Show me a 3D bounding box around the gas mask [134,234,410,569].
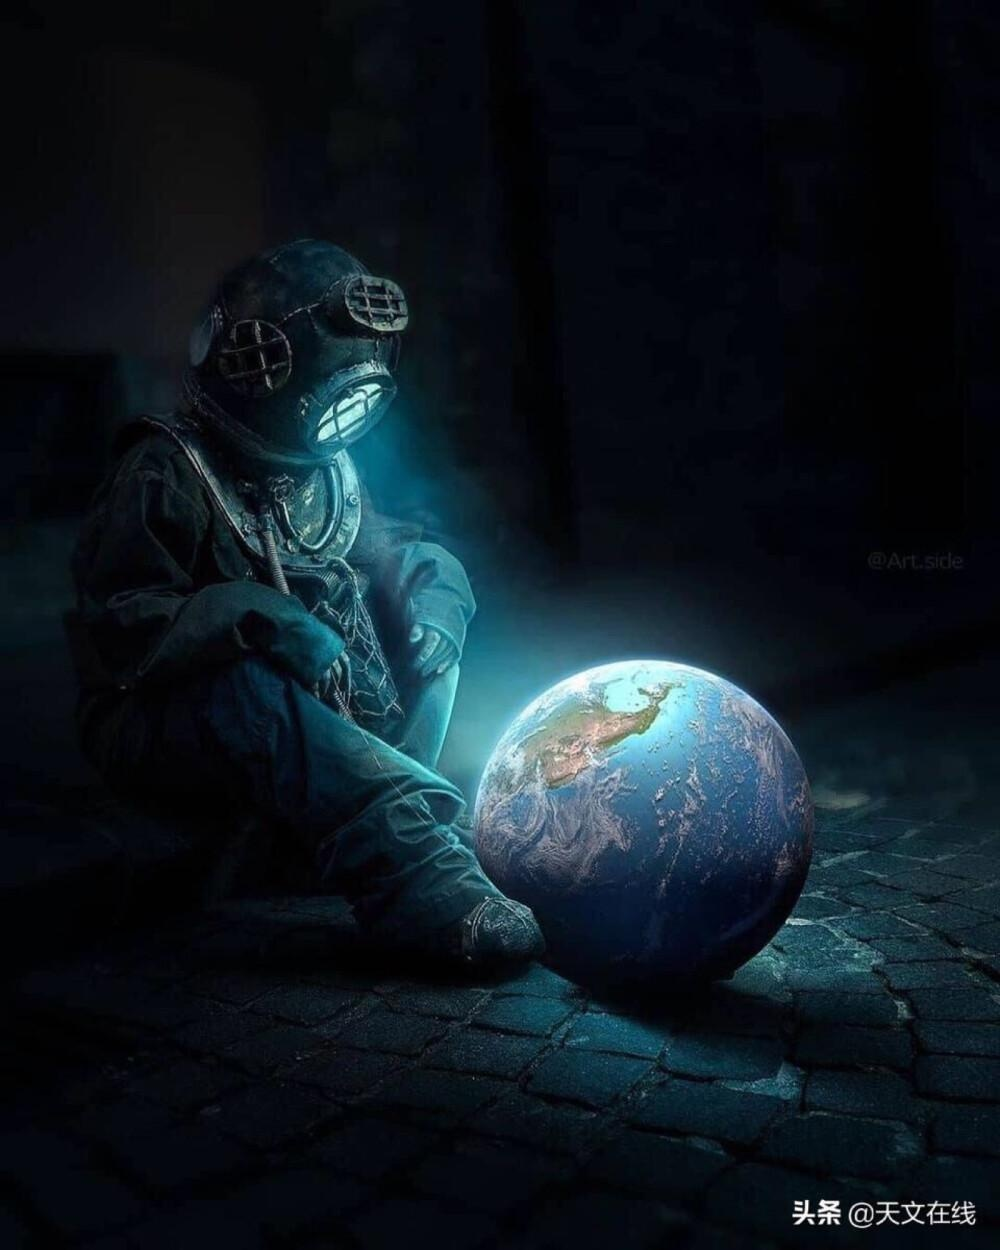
[{"bbox_3d":[-0.702,-0.677,3.836,0.707,0.985,0.712,19,16,27],"label":"gas mask"}]

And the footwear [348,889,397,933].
[{"bbox_3d":[-0.346,0.792,3.331,0.109,0.111,0.134,-9,-8,-46],"label":"footwear"}]

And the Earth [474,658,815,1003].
[{"bbox_3d":[0.367,0.559,3.308,0.963,0.883,0.925,1,-4,-6],"label":"Earth"}]

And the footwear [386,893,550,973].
[{"bbox_3d":[-0.062,0.817,3.272,0.347,0.158,0.210,-6,-17,34],"label":"footwear"}]

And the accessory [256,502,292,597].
[{"bbox_3d":[-0.675,-0.198,3.674,0.030,0.176,0.039,-13,2,34],"label":"accessory"}]
